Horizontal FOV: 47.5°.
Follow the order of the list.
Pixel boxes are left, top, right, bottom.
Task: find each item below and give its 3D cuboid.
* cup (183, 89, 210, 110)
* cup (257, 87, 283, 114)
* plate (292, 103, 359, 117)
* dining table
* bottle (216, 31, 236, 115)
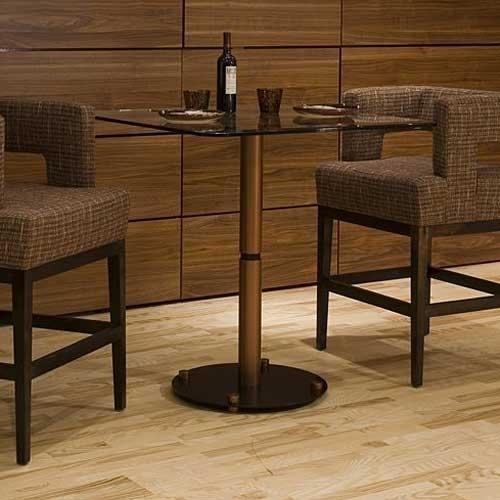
[{"bbox_3d":[-0.154,-0.474,1.804,0.106,0.055,0.082,3,10,16],"label":"cup"},{"bbox_3d":[0.052,-0.487,1.851,0.117,0.063,0.088,-1,11,-2],"label":"cup"},{"bbox_3d":[0.270,-0.451,1.829,0.193,0.029,0.122,-3,6,-23],"label":"plate"},{"bbox_3d":[0.089,0.010,2.013,1.206,0.830,1.082,-3,8,-31],"label":"dining table"},{"bbox_3d":[-0.076,-0.566,1.812,0.058,0.256,0.103,-1,10,-4],"label":"bottle"}]
